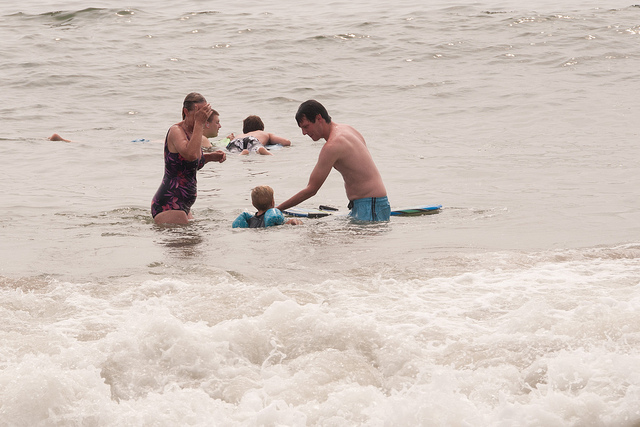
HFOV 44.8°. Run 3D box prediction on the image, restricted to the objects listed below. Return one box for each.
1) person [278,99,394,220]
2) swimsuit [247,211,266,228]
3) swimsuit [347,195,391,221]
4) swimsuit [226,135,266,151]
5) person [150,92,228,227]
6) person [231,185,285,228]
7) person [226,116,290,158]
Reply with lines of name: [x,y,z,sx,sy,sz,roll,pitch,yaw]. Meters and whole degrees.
person: [0.351,-0.822,11.886,1.531,1.831,0.559,1,11,4]
swimsuit: [-0.957,0.094,11.588,0.275,0.113,0.197,-19,43,1]
swimsuit: [0.701,-0.056,12.063,0.762,0.349,0.501,1,-11,-34]
swimsuit: [-1.657,-1.541,16.925,0.948,0.318,0.341,4,10,31]
person: [-2.004,-0.801,11.424,1.039,1.969,0.983,-2,10,-9]
person: [-0.980,-0.099,12.169,1.064,0.570,0.444,2,13,11]
person: [-1.340,-1.580,17.039,0.765,0.420,1.012,-14,38,44]
